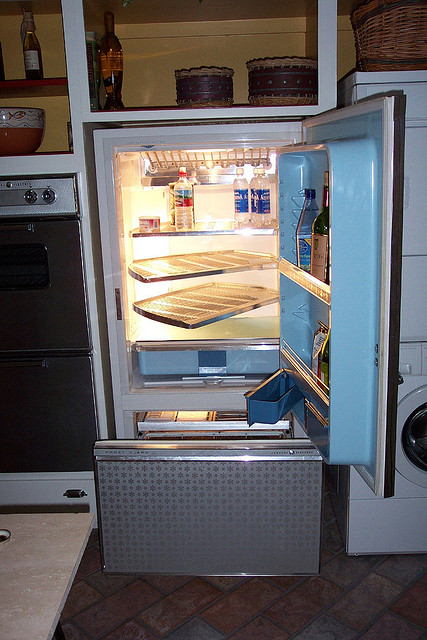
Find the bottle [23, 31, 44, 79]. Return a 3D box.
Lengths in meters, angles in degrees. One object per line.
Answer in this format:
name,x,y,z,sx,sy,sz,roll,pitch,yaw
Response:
bottle,-0.682,-0.991,1.884,0.061,0.220,0.178,-5,9,-18

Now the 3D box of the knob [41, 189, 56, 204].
knob,-0.565,-0.421,1.713,0.043,0.043,0.013,1,10,6

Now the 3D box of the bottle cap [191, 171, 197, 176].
bottle cap,-0.083,-0.590,2.028,0.026,0.025,0.014,-1,6,-8

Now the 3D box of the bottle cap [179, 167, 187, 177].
bottle cap,-0.122,-0.572,1.953,0.033,0.038,0.033,1,11,3

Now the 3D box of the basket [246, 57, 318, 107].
basket,0.237,-0.811,1.727,0.254,0.143,0.260,-11,24,-17

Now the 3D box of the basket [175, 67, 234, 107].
basket,-0.033,-0.794,1.742,0.209,0.119,0.199,-2,19,-10

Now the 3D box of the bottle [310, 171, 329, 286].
bottle,0.268,-0.237,1.279,0.040,0.267,0.189,-1,9,10

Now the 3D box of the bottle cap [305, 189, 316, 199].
bottle cap,0.280,-0.363,1.452,0.035,0.033,0.025,1,9,6

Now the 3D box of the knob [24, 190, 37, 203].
knob,-0.627,-0.421,1.714,0.037,0.037,0.010,3,14,4
